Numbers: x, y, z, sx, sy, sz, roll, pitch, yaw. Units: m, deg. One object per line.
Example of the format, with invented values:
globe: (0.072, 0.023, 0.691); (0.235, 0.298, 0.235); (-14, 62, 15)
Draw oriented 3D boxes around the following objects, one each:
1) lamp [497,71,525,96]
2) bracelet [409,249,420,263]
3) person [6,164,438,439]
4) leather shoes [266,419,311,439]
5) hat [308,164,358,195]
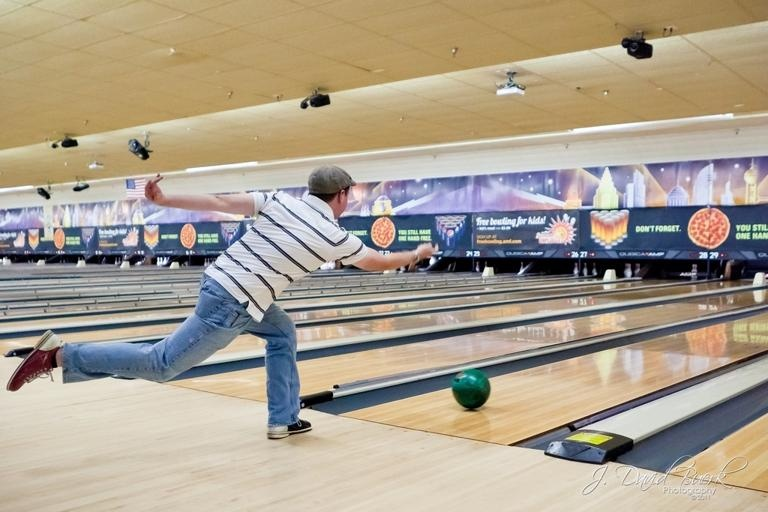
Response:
lamp: (1.726, -2.331, 6.979); (0.290, 0.326, 0.643); (0, 4, 17)
bracelet: (0.130, 0.000, 2.211); (0.023, 0.053, 0.048); (14, -1, -12)
person: (-0.592, 0.216, 2.131); (1.614, 1.174, 0.352); (-1, 6, 2)
leather shoes: (-0.413, 0.758, 2.270); (0.185, 0.057, 0.067); (-1, 0, -42)
hat: (-0.209, -0.332, 2.178); (0.139, 0.078, 0.167); (5, 18, 23)
